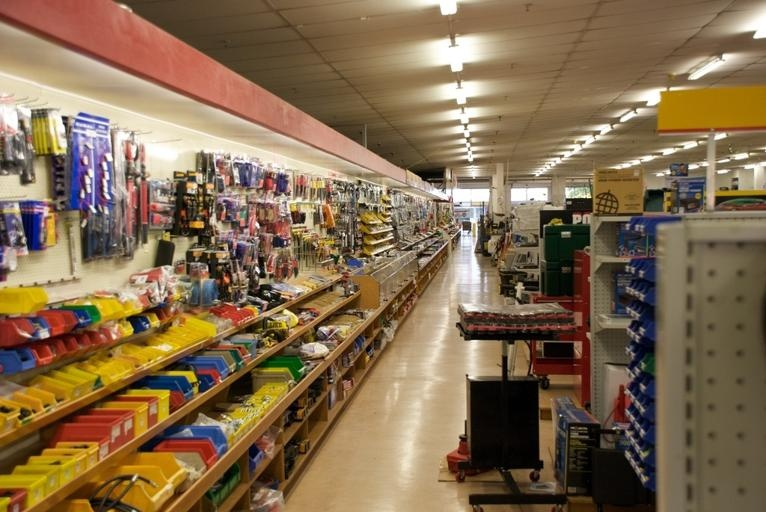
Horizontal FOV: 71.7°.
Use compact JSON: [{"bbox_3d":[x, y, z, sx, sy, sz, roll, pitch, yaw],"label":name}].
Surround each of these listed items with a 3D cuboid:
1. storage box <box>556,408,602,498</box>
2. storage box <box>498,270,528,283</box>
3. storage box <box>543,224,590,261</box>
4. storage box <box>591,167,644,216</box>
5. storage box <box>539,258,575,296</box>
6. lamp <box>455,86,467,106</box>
[{"bbox_3d":[1.401,1.442,3.804,0.201,0.458,0.559,1,-6,8],"label":"storage box"},{"bbox_3d":[2.738,0.444,11.208,0.569,0.248,0.782,1,3,4],"label":"storage box"},{"bbox_3d":[2.192,-0.172,6.414,0.650,0.422,0.410,0,1,-1],"label":"storage box"},{"bbox_3d":[1.997,-0.552,4.673,0.439,0.391,0.422,1,-1,7],"label":"storage box"},{"bbox_3d":[2.025,0.268,6.497,0.481,0.440,0.408,0,-2,-4],"label":"storage box"},{"bbox_3d":[1.469,-3.079,10.142,0.173,0.158,0.307,-1,0,5],"label":"lamp"}]
